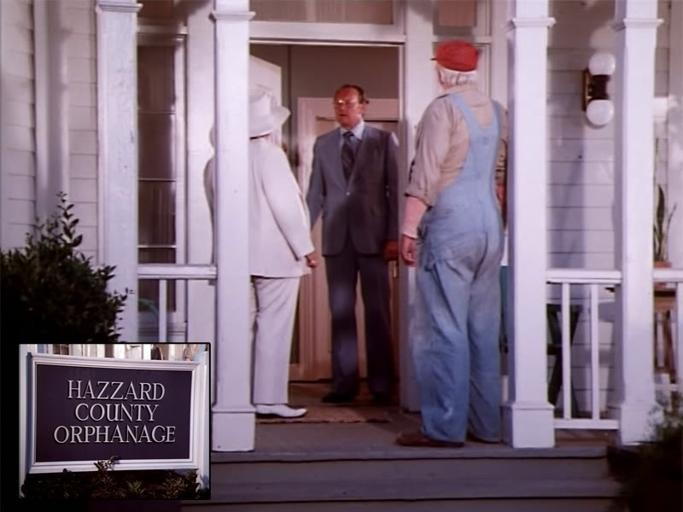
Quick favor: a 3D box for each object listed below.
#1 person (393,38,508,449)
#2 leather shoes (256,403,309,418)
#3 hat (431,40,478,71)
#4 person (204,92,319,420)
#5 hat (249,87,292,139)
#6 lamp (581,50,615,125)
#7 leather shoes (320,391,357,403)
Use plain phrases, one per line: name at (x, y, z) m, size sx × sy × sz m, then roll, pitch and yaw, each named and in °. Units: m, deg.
person at (0.684, -0.067, 8.277) m, size 0.674 × 2.405 × 0.401 m, roll 1°, pitch -2°, yaw -5°
leather shoes at (-0.384, 1.007, 8.990) m, size 0.337 × 0.152 × 0.127 m, roll 1°, pitch -3°, yaw -11°
hat at (0.674, -1.225, 8.332) m, size 0.187 × 0.112 × 0.261 m, roll -3°, pitch 24°, yaw -15°
person at (-0.471, 0.000, 8.815) m, size 0.728 × 2.081 × 0.485 m, roll 2°, pitch -2°, yaw -21°
hat at (-0.483, -0.901, 8.855) m, size 0.113 × 0.305 × 0.311 m, roll 10°, pitch 9°, yaw -17°
lamp at (1.801, -1.126, 9.438) m, size 0.256 × 0.498 × 0.148 m, roll 0°, pitch -2°, yaw 43°
leather shoes at (-0.009, 0.991, 9.703) m, size 0.211 × 0.096 × 0.083 m, roll 6°, pitch -5°, yaw -23°
